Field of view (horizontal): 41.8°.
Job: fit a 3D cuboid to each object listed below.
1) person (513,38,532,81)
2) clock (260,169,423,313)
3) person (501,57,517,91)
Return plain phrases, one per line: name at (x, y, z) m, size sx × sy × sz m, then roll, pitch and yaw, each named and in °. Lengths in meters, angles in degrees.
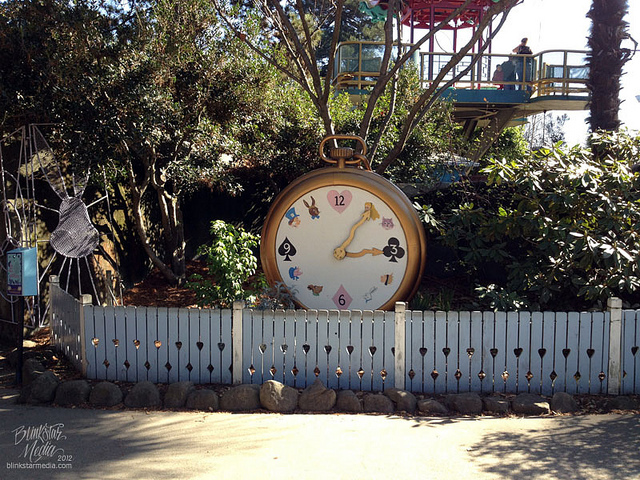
person at (5.610, -4.837, 22.988) m, size 0.559 × 1.444 × 0.378 m, roll -5°, pitch -21°, yaw 20°
clock at (0.371, 0.118, 14.064) m, size 2.042 × 2.366 × 0.363 m, roll 1°, pitch 1°, yaw 5°
person at (5.127, -4.432, 22.739) m, size 0.420 × 0.876 × 0.298 m, roll 1°, pitch -2°, yaw 13°
